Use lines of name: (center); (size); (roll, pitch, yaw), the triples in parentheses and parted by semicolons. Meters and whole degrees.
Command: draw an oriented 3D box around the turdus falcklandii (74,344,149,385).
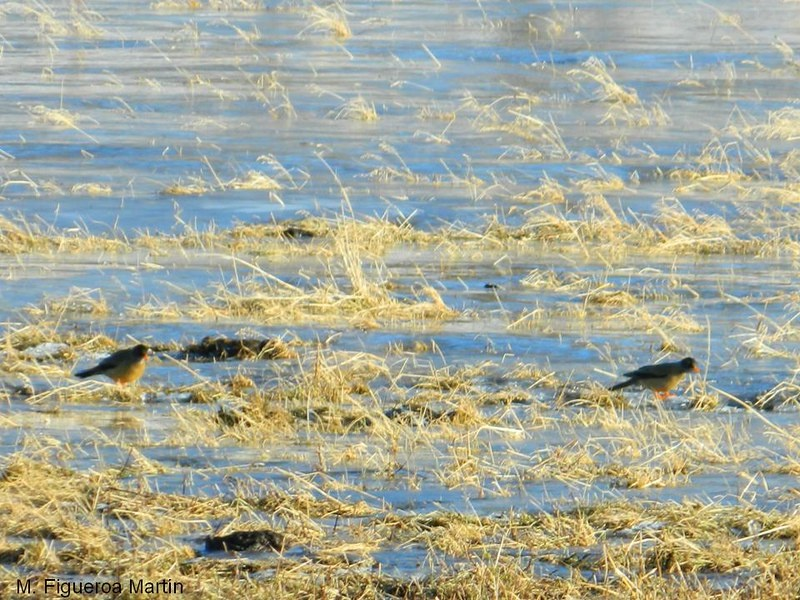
turdus falcklandii: (-3.392, 0.756, 20.542); (0.935, 0.538, 0.344); (6, 3, 22)

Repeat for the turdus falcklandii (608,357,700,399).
turdus falcklandii: (3.145, 0.895, 21.033); (1.296, 0.567, 0.441); (1, 15, 5)
